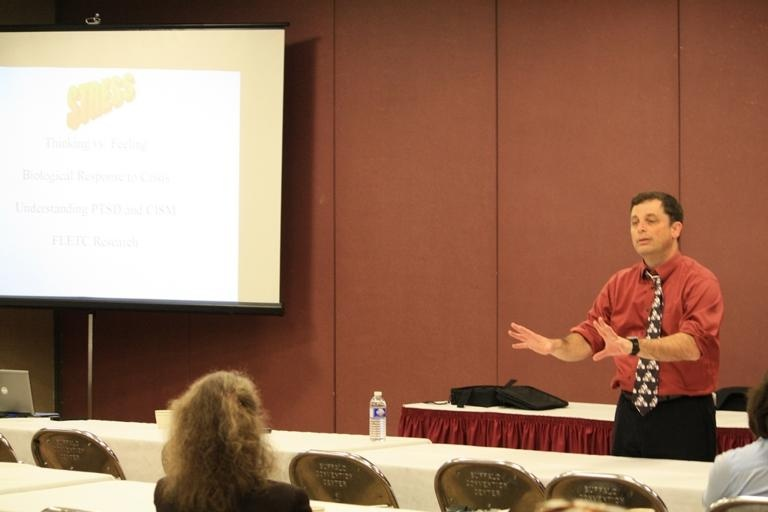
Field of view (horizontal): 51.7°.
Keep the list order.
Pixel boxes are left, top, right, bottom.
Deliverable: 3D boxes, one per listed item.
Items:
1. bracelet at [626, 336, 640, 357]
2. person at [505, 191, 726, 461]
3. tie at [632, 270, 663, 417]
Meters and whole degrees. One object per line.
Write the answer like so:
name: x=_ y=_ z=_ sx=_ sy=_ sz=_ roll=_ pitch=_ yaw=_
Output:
bracelet: x=1.313 y=0.471 z=4.181 sx=0.066 sy=0.078 sz=0.076 roll=19 pitch=27 yaw=29
person: x=1.428 y=0.385 z=4.424 sx=0.765 sy=1.491 sz=0.593 roll=-1 pitch=-2 yaw=-8
tie: x=1.475 y=0.484 z=4.415 sx=0.145 sy=0.824 sz=0.113 roll=0 pitch=-14 yaw=30
